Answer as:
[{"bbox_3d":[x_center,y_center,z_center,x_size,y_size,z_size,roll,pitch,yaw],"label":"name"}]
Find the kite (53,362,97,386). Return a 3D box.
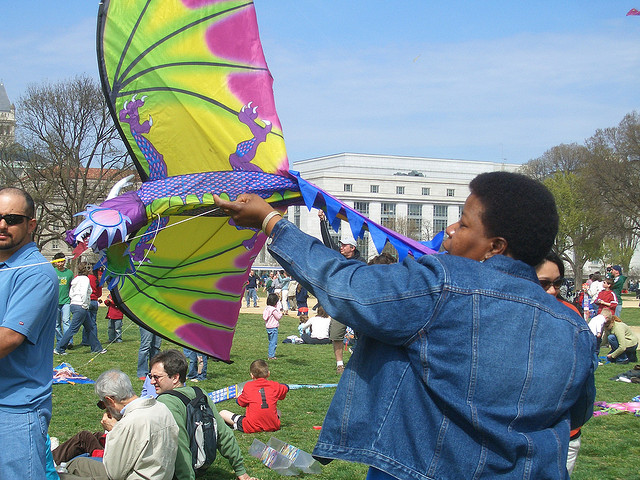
[{"bbox_3d":[-3.728,2.032,13.384,0.731,0.219,0.540,5,-3,29],"label":"kite"}]

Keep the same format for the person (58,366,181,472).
[{"bbox_3d":[-1.695,1.719,8.104,0.768,0.809,0.865,9,-4,-24],"label":"person"}]

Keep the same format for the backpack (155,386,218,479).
[{"bbox_3d":[-1.159,1.857,8.604,0.313,0.709,0.308,8,-4,5],"label":"backpack"}]
